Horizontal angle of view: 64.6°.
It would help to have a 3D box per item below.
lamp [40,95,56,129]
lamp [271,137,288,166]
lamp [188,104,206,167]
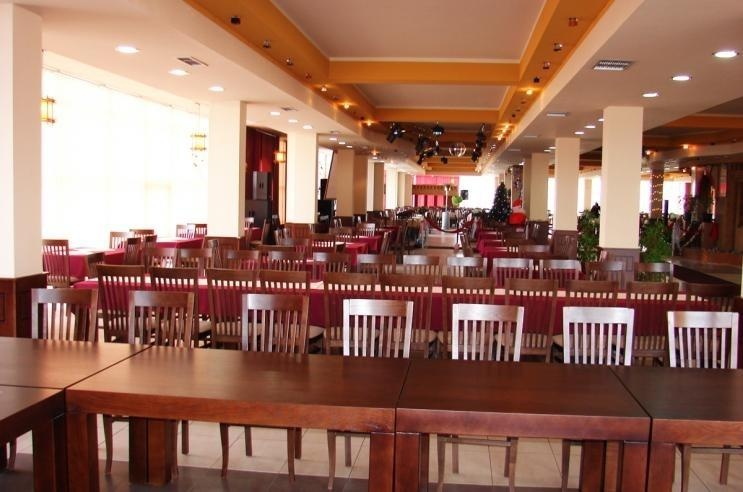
[{"bbox_3d":[-4.715,-2.000,8.580,0.163,0.379,0.807,-5,11,-26],"label":"lamp"},{"bbox_3d":[-2.934,-3.065,18.796,0.407,0.839,1.162,-1,10,-9],"label":"lamp"},{"bbox_3d":[-4.049,-2.531,13.742,0.440,1.459,2.407,-3,10,-16],"label":"lamp"}]
